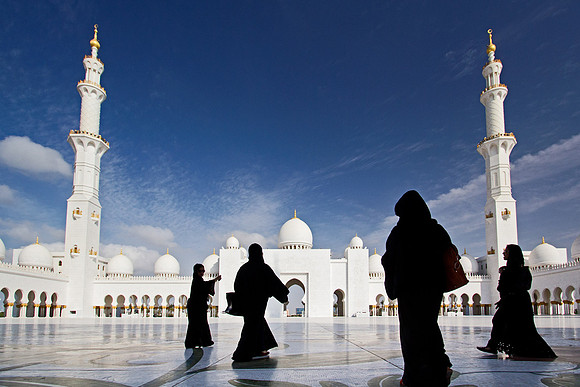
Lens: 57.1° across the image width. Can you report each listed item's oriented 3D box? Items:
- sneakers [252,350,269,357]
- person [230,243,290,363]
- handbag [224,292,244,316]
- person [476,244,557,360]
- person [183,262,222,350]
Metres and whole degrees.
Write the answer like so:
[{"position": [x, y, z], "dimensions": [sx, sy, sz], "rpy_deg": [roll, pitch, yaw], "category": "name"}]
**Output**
[{"position": [-0.587, 3.376, 11.205], "dimensions": [0.253, 0.085, 0.136], "rpy_deg": [5, -8, -35], "category": "sneakers"}, {"position": [-0.686, 2.352, 11.568], "dimensions": [1.072, 2.474, 0.658], "rpy_deg": [1, -19, -7], "category": "person"}, {"position": [-1.205, 2.446, 11.860], "dimensions": [0.430, 0.457, 0.382], "rpy_deg": [8, -11, -24], "category": "handbag"}, {"position": [4.818, 2.324, 11.462], "dimensions": [1.080, 2.416, 0.415], "rpy_deg": [-8, -20, 22], "category": "person"}, {"position": [-2.185, 2.722, 13.064], "dimensions": [0.692, 2.092, 1.224], "rpy_deg": [2, -19, -8], "category": "person"}]
